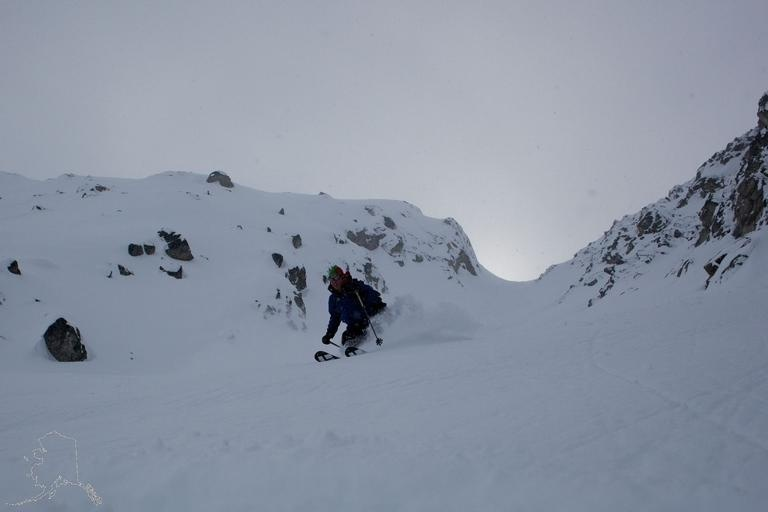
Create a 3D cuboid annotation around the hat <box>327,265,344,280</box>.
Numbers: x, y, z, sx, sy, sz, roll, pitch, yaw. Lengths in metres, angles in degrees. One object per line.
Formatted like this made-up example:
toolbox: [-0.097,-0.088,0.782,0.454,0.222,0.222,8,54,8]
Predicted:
hat: [-2.502,1.017,47.550,0.783,0.523,0.883,-27,17,-1]
